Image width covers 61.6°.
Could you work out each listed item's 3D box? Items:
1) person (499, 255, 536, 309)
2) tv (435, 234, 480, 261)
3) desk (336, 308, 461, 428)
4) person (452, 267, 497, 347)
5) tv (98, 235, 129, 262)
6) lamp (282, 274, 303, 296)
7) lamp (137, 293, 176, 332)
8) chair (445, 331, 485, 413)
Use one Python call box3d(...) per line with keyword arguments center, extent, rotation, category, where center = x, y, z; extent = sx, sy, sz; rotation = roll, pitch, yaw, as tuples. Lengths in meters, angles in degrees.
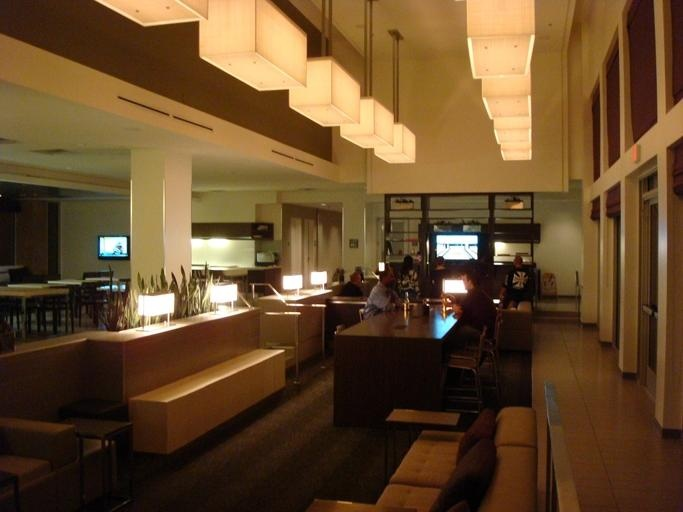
box3d(center=(3.449, 0.487, 11.226), extent=(0.568, 0.979, 1.369), rotation=(-1, 3, 18), category="person")
box3d(center=(2.631, -0.201, 12.886), extent=(0.964, 0.595, 0.657), rotation=(2, 7, 11), category="tv")
box3d(center=(0.568, 1.192, 6.376), extent=(0.821, 0.787, 1.634), rotation=(0, 2, 13), category="desk")
box3d(center=(1.720, 0.603, 7.707), extent=(0.599, 0.906, 0.586), rotation=(-12, 13, -32), category="person")
box3d(center=(-6.588, -0.245, 16.634), extent=(0.667, 0.640, 0.099), rotation=(0, -1, 6), category="tv")
box3d(center=(-0.817, 0.431, 9.164), extent=(0.351, 0.402, 0.376), rotation=(-1, -4, 3), category="lamp")
box3d(center=(-1.911, 0.562, 5.871), extent=(0.109, 0.333, 0.360), rotation=(-2, 0, 20), category="lamp")
box3d(center=(1.418, 1.320, 6.658), extent=(0.465, 0.769, 0.522), rotation=(6, -10, 6), category="chair")
